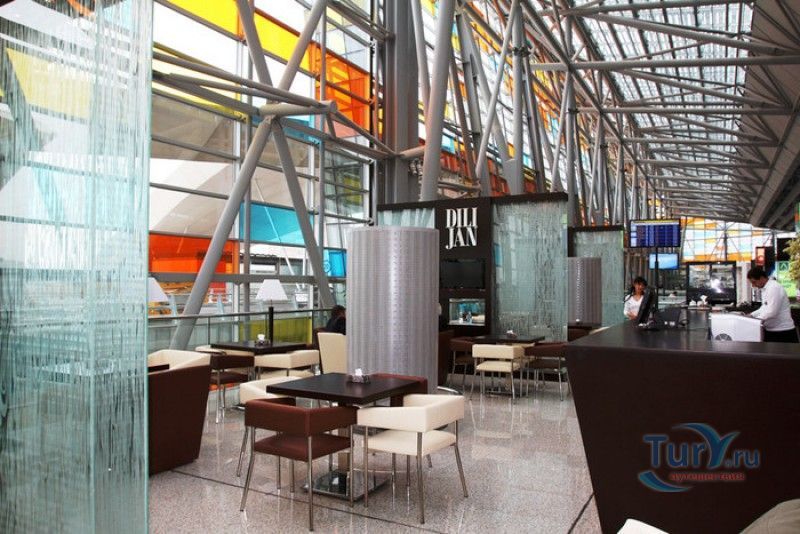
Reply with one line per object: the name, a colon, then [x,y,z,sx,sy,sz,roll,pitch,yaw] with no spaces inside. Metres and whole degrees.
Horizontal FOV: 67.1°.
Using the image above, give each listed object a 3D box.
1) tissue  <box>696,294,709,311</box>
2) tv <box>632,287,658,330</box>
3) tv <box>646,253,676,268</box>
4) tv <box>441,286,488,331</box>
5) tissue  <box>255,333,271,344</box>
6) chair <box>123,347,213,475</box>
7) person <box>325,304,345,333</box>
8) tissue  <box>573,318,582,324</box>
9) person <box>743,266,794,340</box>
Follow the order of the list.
tissue : [6.985,0.797,13.907,0.266,0.296,0.271,-4,0,17]
tv: [3.192,0.522,7.860,0.217,0.522,0.572,17,20,31]
tv: [13.836,-0.377,31.895,1.300,0.761,0.128,3,6,37]
tv: [1.328,0.892,12.647,1.118,0.971,0.261,2,4,22]
tissue : [-2.251,1.185,9.944,0.262,0.162,0.259,0,-7,-2]
chair: [-2.663,1.633,7.122,1.054,1.172,0.972,-3,-14,-9]
person: [-1.150,0.893,10.573,0.335,0.423,1.080,0,3,-7]
tissue : [4.792,1.428,16.248,0.161,0.173,0.170,1,-3,-20]
person: [5.508,0.576,9.006,0.599,1.209,1.625,3,4,35]
